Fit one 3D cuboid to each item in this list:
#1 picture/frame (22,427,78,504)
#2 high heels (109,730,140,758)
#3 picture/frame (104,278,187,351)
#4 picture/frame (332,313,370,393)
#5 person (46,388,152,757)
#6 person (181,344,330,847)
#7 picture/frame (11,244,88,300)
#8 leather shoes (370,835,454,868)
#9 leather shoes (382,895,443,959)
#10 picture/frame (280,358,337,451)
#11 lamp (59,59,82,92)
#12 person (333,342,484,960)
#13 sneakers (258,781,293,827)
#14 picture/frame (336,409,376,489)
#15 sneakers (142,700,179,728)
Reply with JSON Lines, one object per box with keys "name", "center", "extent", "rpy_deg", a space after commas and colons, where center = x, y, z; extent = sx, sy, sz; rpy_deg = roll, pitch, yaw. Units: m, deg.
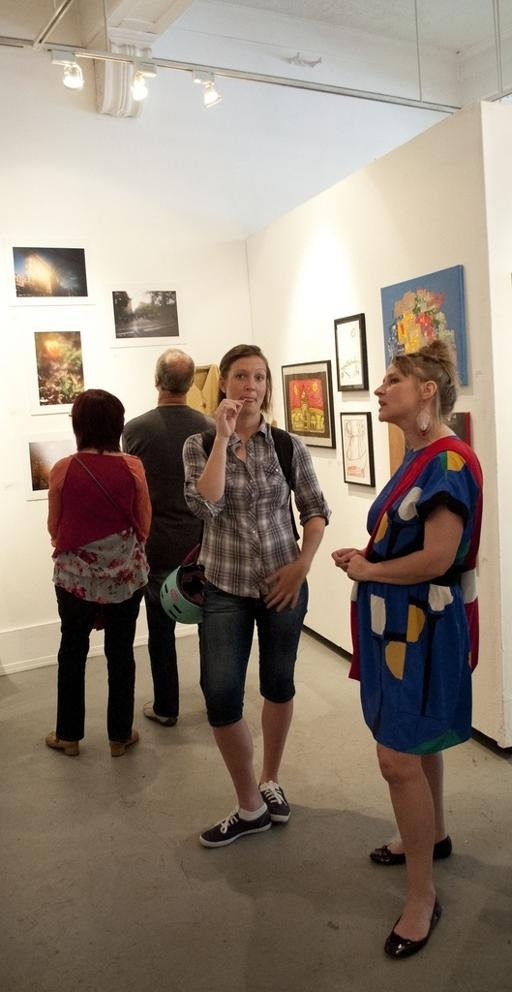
{"name": "picture/frame", "center": [-1.164, -0.171, 3.673], "extent": [0.392, 0.505, 0.031], "rpy_deg": [-7, 10, -30]}
{"name": "high heels", "center": [-0.590, 1.099, 2.980], "extent": [0.050, 0.071, 0.157], "rpy_deg": [3, 21, 7]}
{"name": "picture/frame", "center": [-0.779, -1.244, 4.509], "extent": [0.722, 0.589, 0.018], "rpy_deg": [-4, 5, -37]}
{"name": "picture/frame", "center": [0.509, -0.766, 3.499], "extent": [0.036, 0.555, 0.418], "rpy_deg": [-3, 4, -16]}
{"name": "person", "center": [-0.677, 0.360, 2.811], "extent": [0.480, 1.119, 0.405], "rpy_deg": [-4, 3, 1]}
{"name": "person", "center": [0.011, 0.332, 2.154], "extent": [0.471, 1.620, 0.354], "rpy_deg": [-5, 3, -30]}
{"name": "picture/frame", "center": [-1.322, -1.420, 4.176], "extent": [0.354, 0.287, 0.008], "rpy_deg": [-4, 10, -34]}
{"name": "leather shoes", "center": [0.486, 1.080, 2.039], "extent": [0.261, 0.094, 0.111], "rpy_deg": [-1, 1, -5]}
{"name": "leather shoes", "center": [0.387, 1.070, 1.668], "extent": [0.064, 0.072, 0.183], "rpy_deg": [-5, 7, 33]}
{"name": "picture/frame", "center": [0.325, -0.549, 3.896], "extent": [0.041, 0.695, 0.647], "rpy_deg": [-6, 6, -21]}
{"name": "lamp", "center": [-0.926, -2.142, 3.357], "extent": [0.084, 0.115, 0.177], "rpy_deg": [-5, 3, -20]}
{"name": "person", "center": [0.387, 0.358, 1.646], "extent": [0.365, 1.488, 0.350], "rpy_deg": [-3, 3, 6]}
{"name": "sneakers", "center": [0.073, 1.068, 2.302], "extent": [0.057, 0.071, 0.164], "rpy_deg": [-1, 10, -16]}
{"name": "picture/frame", "center": [0.547, -0.266, 3.576], "extent": [0.046, 0.550, 0.406], "rpy_deg": [-1, 1, -15]}
{"name": "sneakers", "center": [-0.485, 1.075, 3.281], "extent": [0.072, 0.088, 0.187], "rpy_deg": [-4, 23, -34]}
